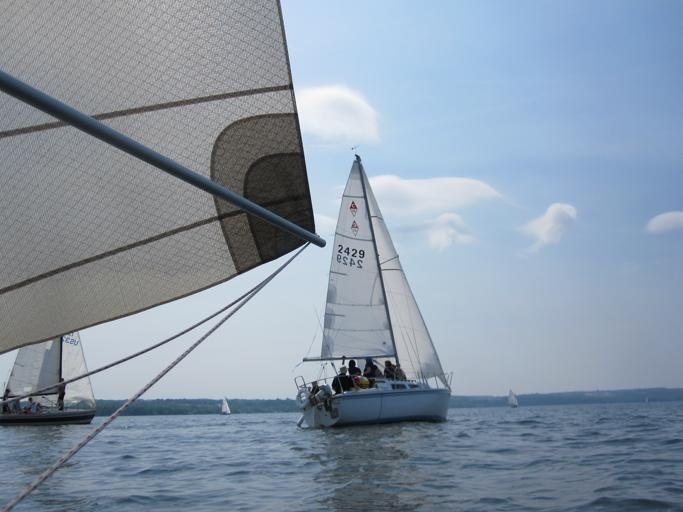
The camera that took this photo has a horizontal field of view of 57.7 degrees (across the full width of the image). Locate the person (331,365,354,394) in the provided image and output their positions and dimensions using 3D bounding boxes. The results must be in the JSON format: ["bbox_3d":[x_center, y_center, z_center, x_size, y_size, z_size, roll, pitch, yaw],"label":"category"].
[{"bbox_3d":[0.141,3.824,19.176,0.620,0.840,0.817,0,-20,-5],"label":"person"}]
